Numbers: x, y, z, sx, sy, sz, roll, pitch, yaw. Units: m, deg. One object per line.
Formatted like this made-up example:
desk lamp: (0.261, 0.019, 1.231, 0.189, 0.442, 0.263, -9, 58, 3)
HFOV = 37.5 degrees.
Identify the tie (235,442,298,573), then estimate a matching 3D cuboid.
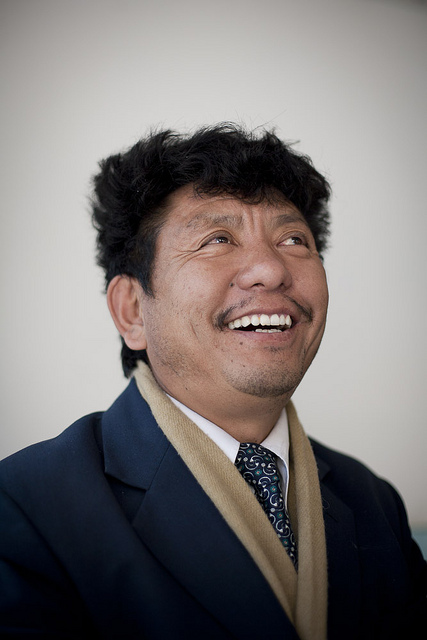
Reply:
tie: (0.155, 0.543, 1.878, 0.116, 0.101, 0.381, -1, 55, -33)
